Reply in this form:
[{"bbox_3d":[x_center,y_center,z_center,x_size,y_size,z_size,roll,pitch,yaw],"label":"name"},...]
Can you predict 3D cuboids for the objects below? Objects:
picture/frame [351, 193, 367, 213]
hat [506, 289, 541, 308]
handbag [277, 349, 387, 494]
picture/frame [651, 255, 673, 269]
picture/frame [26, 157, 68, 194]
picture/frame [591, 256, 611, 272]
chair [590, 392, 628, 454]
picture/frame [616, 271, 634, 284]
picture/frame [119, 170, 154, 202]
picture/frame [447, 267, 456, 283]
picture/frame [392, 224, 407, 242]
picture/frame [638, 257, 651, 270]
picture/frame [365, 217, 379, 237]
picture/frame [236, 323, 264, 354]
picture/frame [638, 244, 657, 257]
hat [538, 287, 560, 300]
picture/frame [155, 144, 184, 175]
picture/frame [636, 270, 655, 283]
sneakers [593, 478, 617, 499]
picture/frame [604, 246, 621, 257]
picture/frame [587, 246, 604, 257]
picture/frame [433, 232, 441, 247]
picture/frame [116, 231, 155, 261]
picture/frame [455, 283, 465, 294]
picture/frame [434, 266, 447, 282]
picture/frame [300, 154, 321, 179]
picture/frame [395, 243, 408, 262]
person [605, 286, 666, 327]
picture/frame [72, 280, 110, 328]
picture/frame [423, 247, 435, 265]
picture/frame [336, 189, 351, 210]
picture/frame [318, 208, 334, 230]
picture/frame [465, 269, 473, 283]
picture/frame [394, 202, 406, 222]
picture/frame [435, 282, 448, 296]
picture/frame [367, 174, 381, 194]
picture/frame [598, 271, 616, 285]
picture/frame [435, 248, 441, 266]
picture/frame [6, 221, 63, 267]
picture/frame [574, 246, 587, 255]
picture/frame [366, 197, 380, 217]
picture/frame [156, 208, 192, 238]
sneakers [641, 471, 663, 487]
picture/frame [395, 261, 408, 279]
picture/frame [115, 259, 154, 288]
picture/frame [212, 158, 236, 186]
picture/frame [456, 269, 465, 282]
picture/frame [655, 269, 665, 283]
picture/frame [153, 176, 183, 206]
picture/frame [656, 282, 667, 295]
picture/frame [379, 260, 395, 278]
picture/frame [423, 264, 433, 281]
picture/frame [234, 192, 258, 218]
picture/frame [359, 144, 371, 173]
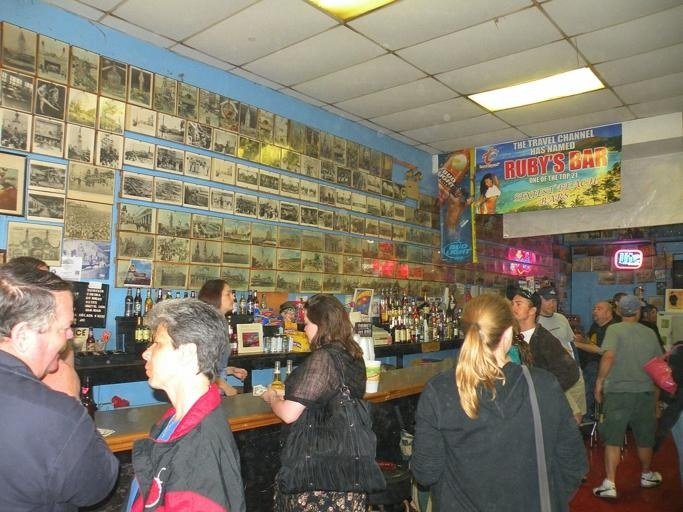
[{"bbox_3d":[0.223,-0.705,6.945,0.028,0.202,0.287,0,-3,39],"label":"picture/frame"},{"bbox_3d":[1.576,0.373,4.526,0.219,0.073,0.150,23,-2,-3],"label":"hat"},{"bbox_3d":[-0.057,0.953,3.099,0.606,0.836,0.246,2,-3,-7],"label":"handbag"},{"bbox_3d":[7.579,0.134,12.405,0.074,0.365,0.393,5,-4,-43],"label":"picture/frame"},{"bbox_3d":[-2.445,-0.668,4.347,0.325,0.289,0.034,4,-2,-42],"label":"picture/frame"},{"bbox_3d":[6.576,0.202,13.306,0.352,0.340,0.118,-6,-11,41],"label":"picture/frame"},{"bbox_3d":[2.676,1.583,5.119,0.322,0.508,0.340,1,-3,14],"label":"chair"},{"bbox_3d":[6.954,0.529,12.905,0.038,0.268,0.281,17,-3,-42],"label":"picture/frame"},{"bbox_3d":[-1.893,-0.645,4.820,0.042,0.252,0.306,1,-2,41],"label":"picture/frame"},{"bbox_3d":[1.774,0.298,8.479,0.044,0.247,0.252,0,-4,33],"label":"picture/frame"},{"bbox_3d":[0.818,-0.335,7.565,0.037,0.162,0.270,-1,-3,39],"label":"picture/frame"},{"bbox_3d":[7.322,0.167,12.718,0.288,0.274,0.195,6,6,9],"label":"picture/frame"},{"bbox_3d":[0.401,-0.394,7.140,0.133,0.245,0.259,-6,-7,34],"label":"picture/frame"},{"bbox_3d":[-0.921,0.825,5.228,0.037,0.323,0.314,-13,-7,40],"label":"picture/frame"},{"bbox_3d":[7.289,-0.148,12.568,0.360,0.320,0.150,0,-4,31],"label":"picture/frame"},{"bbox_3d":[2.121,0.379,5.421,0.187,0.142,0.246,3,-8,3],"label":"hat"},{"bbox_3d":[-1.658,-0.926,5.036,0.043,0.227,0.322,1,0,38],"label":"picture/frame"},{"bbox_3d":[7.294,0.481,12.618,0.291,0.251,0.042,-5,-13,35],"label":"picture/frame"},{"bbox_3d":[2.489,2.218,5.024,0.120,0.122,0.264,2,-6,-5],"label":"sneakers"},{"bbox_3d":[6.780,-0.128,13.150,0.037,0.237,0.254,21,-11,-39],"label":"picture/frame"},{"bbox_3d":[6.479,-0.135,13.406,0.295,0.272,0.078,6,4,39],"label":"picture/frame"},{"bbox_3d":[1.478,-0.258,8.218,0.025,0.278,0.190,-1,-4,45],"label":"picture/frame"},{"bbox_3d":[-1.891,-0.091,4.796,0.037,0.191,0.274,-2,-5,42],"label":"picture/frame"},{"bbox_3d":[1.949,0.524,8.621,0.144,0.169,0.181,8,14,34],"label":"picture/frame"},{"bbox_3d":[1.533,0.277,8.226,0.257,0.202,0.365,7,0,3],"label":"picture/frame"},{"bbox_3d":[-0.381,-1.076,6.285,0.013,0.233,0.331,-4,-5,35],"label":"picture/frame"},{"bbox_3d":[0.852,-0.054,7.574,0.010,0.200,0.201,-14,-39,30],"label":"picture/frame"},{"bbox_3d":[4.692,0.785,8.271,0.726,0.506,0.393,4,-3,-17],"label":"person"},{"bbox_3d":[-2.103,0.404,4.390,0.050,0.481,0.464,5,5,29],"label":"picture/frame"},{"bbox_3d":[1.321,-0.008,8.049,0.059,0.241,0.308,-1,-4,36],"label":"picture/frame"},{"bbox_3d":[0.016,-0.730,6.721,0.039,0.235,0.277,0,-3,42],"label":"picture/frame"},{"bbox_3d":[-0.203,-0.458,6.487,0.266,0.309,0.044,5,-2,-40],"label":"picture/frame"},{"bbox_3d":[2.146,0.337,8.883,0.104,0.196,0.191,14,3,43],"label":"picture/frame"},{"bbox_3d":[0.832,-0.639,7.598,0.014,0.203,0.286,-8,1,33],"label":"picture/frame"},{"bbox_3d":[1.558,0.519,8.225,0.204,0.205,0.309,3,8,17],"label":"picture/frame"},{"bbox_3d":[0.433,-0.992,7.169,0.029,0.210,0.295,-4,-6,38],"label":"picture/frame"},{"bbox_3d":[6.662,0.558,13.188,0.505,0.354,0.274,2,-9,18],"label":"picture/frame"},{"bbox_3d":[1.500,0.017,8.212,0.053,0.255,0.213,-1,-4,37],"label":"picture/frame"},{"bbox_3d":[-2.354,-0.098,4.009,0.363,0.331,0.035,5,-10,-36],"label":"picture/frame"},{"bbox_3d":[6.171,-0.141,13.608,0.364,0.258,0.201,1,-7,11],"label":"picture/frame"},{"bbox_3d":[0.421,-0.676,7.160,0.030,0.196,0.277,-4,-6,33],"label":"picture/frame"},{"bbox_3d":[-1.627,-0.317,5.064,0.010,0.208,0.296,-1,-3,36],"label":"picture/frame"},{"bbox_3d":[3.137,2.246,5.329,0.124,0.136,0.299,-1,2,45],"label":"sneakers"},{"bbox_3d":[0.865,0.198,7.555,0.226,0.308,0.207,3,6,19],"label":"picture/frame"},{"bbox_3d":[-1.894,0.159,4.772,0.252,0.222,0.033,5,-6,-43],"label":"picture/frame"},{"bbox_3d":[-1.232,-0.880,5.451,0.032,0.264,0.310,-4,-2,38],"label":"picture/frame"},{"bbox_3d":[1.941,0.329,8.717,0.209,0.192,0.049,3,-6,-40],"label":"picture/frame"},{"bbox_3d":[7.530,0.462,12.439,0.318,0.299,0.169,2,2,39],"label":"picture/frame"},{"bbox_3d":[-1.669,-0.624,5.033,0.039,0.242,0.292,-6,-7,43],"label":"picture/frame"},{"bbox_3d":[7.418,0.762,12.200,0.039,0.384,0.283,5,-7,-30],"label":"picture/frame"},{"bbox_3d":[0.636,0.172,7.325,0.232,0.220,0.055,1,-1,-39],"label":"picture/frame"},{"bbox_3d":[1.311,0.251,8.000,0.215,0.207,0.113,11,-17,-42],"label":"picture/frame"},{"bbox_3d":[-1.037,-0.549,5.640,0.031,0.201,0.288,0,-3,40],"label":"picture/frame"},{"bbox_3d":[0.299,-1.305,7.011,0.018,0.402,0.407,2,0,36],"label":"picture/frame"}]
